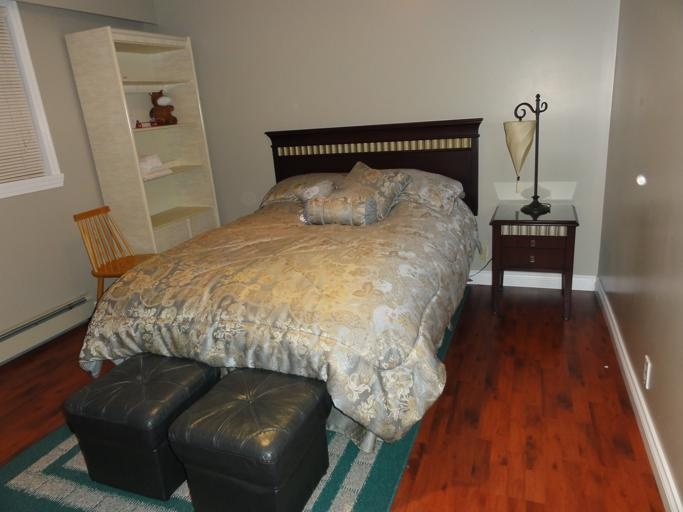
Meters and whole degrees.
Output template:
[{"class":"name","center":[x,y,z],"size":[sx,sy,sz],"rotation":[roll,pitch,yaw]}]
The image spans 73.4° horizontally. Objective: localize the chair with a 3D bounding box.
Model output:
[{"class":"chair","center":[-1.731,-0.030,3.469],"size":[0.513,0.784,0.454],"rotation":[7,25,16]}]

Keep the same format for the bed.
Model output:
[{"class":"bed","center":[-0.150,0.100,2.774],"size":[1.517,1.048,1.598],"rotation":[3,26,15]}]

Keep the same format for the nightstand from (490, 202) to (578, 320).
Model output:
[{"class":"nightstand","center":[1.409,-0.102,3.624],"size":[0.757,0.982,0.746],"rotation":[3,19,15]}]

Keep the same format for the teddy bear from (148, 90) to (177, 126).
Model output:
[{"class":"teddy bear","center":[-1.656,-1.378,4.251],"size":[0.229,0.374,0.192],"rotation":[-8,7,-22]}]

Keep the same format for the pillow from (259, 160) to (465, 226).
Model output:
[{"class":"pillow","center":[0.121,-0.511,3.512],"size":[1.519,0.309,0.928],"rotation":[5,21,19]}]

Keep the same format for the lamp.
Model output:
[{"class":"lamp","center":[1.426,-0.764,3.403],"size":[0.331,0.846,0.527],"rotation":[6,20,20]}]
